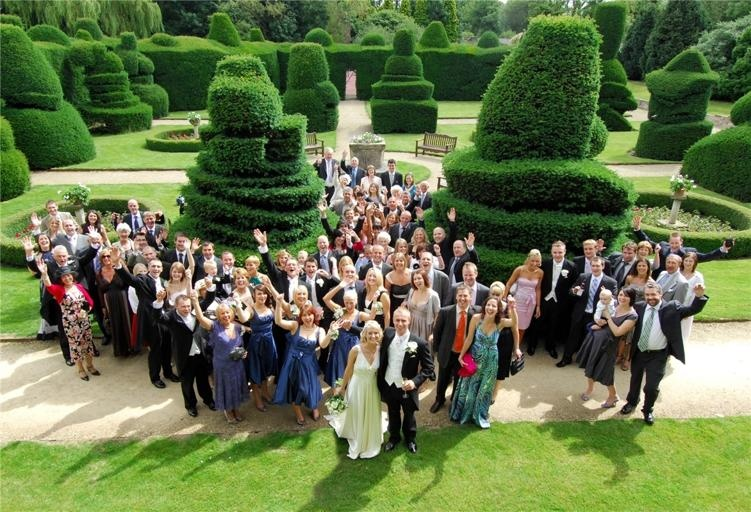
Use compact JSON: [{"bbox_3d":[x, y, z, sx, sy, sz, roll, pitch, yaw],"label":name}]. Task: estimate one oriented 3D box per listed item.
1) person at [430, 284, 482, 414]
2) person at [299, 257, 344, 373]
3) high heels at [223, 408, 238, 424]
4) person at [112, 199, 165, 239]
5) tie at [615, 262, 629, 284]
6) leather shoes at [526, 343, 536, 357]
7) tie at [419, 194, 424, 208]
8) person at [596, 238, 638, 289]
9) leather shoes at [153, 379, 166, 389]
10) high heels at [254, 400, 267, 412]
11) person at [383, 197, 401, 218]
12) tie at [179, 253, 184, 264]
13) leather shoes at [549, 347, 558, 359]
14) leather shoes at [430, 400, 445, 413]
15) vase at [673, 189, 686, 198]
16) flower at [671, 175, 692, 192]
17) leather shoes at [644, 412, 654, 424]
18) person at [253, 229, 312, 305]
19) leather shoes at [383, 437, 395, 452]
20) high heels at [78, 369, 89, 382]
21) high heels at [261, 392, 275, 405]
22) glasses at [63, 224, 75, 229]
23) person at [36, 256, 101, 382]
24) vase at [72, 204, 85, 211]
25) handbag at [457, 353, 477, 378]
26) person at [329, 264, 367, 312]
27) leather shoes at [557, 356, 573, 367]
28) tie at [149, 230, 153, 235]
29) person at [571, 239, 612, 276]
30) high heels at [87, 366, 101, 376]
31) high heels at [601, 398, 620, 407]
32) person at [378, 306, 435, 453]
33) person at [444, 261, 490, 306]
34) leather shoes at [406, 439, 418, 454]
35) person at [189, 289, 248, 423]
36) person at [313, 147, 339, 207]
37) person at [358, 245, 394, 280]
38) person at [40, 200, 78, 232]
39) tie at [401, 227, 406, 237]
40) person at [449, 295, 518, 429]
[{"bbox_3d":[1.671,1.987,13.688,1.095,2.870,0.773,9,20,8],"label":"person"},{"bbox_3d":[-1.337,1.212,14.503,0.882,2.255,0.673,2,3,6],"label":"person"},{"bbox_3d":[-2.970,3.281,13.535,0.437,0.184,0.148,26,56,29],"label":"high heels"},{"bbox_3d":[-6.325,-0.983,17.539,1.482,0.922,0.439,-4,4,-11],"label":"person"},{"bbox_3d":[5.570,0.375,14.923,0.125,0.471,0.279,18,8,-28],"label":"tie"},{"bbox_3d":[3.589,2.161,15.188,0.129,0.113,0.283,5,39,18],"label":"leather shoes"},{"bbox_3d":[1.308,-1.543,18.398,0.067,0.267,0.197,5,3,-33],"label":"tie"},{"bbox_3d":[5.433,0.204,14.846,1.032,1.083,0.343,8,8,38],"label":"person"},{"bbox_3d":[-4.680,2.761,14.294,0.316,0.133,0.124,17,30,28],"label":"leather shoes"},{"bbox_3d":[-2.400,3.138,13.830,0.153,0.082,0.272,-12,45,-41],"label":"high heels"},{"bbox_3d":[0.438,-1.285,17.589,0.720,0.541,0.406,0,12,-4],"label":"person"},{"bbox_3d":[-4.436,0.043,14.998,0.132,0.230,0.056,3,-5,-5],"label":"tie"},{"bbox_3d":[4.096,2.236,15.160,0.117,0.228,0.332,-11,55,17],"label":"leather shoes"},{"bbox_3d":[1.311,3.161,13.834,0.256,0.168,0.085,-38,50,-27],"label":"leather shoes"},{"bbox_3d":[9.899,-2.011,21.395,0.266,0.171,0.261,-14,30,-21],"label":"vase"},{"bbox_3d":[9.869,-2.297,21.266,0.642,0.460,0.470,5,19,13],"label":"flower"},{"bbox_3d":[5.646,3.344,13.589,0.135,0.165,0.235,-8,44,18],"label":"leather shoes"},{"bbox_3d":[-2.211,0.419,14.141,0.784,1.860,1.499,-17,57,1],"label":"person"},{"bbox_3d":[0.269,3.762,13.110,0.137,0.118,0.284,34,56,20],"label":"leather shoes"},{"bbox_3d":[-6.396,2.580,14.441,0.364,0.146,0.114,33,25,33],"label":"high heels"},{"bbox_3d":[-2.274,2.994,13.996,0.150,0.115,0.420,-1,45,-43],"label":"high heels"},{"bbox_3d":[-7.194,-0.695,15.508,0.119,0.099,0.153,-3,-1,1],"label":"glasses"},{"bbox_3d":[-6.588,1.443,14.400,0.728,2.370,1.089,-14,23,-34],"label":"person"},{"bbox_3d":[-8.558,-1.402,18.954,0.331,0.157,0.325,0,11,-18],"label":"vase"},{"bbox_3d":[1.814,2.214,13.261,0.167,0.410,0.414,20,9,-15],"label":"handbag"},{"bbox_3d":[-0.510,0.947,14.151,0.772,1.420,0.490,3,-16,-23],"label":"person"},{"bbox_3d":[4.264,2.392,14.939,0.443,0.195,0.149,-11,35,-5],"label":"leather shoes"},{"bbox_3d":[-5.483,-0.581,16.029,0.123,0.038,0.068,5,56,-16],"label":"tie"},{"bbox_3d":[4.904,0.091,14.903,0.906,0.895,0.514,6,2,38],"label":"person"},{"bbox_3d":[-6.217,2.515,14.566,0.392,0.157,0.133,25,28,28],"label":"high heels"},{"bbox_3d":[4.924,3.111,13.919,0.409,0.173,0.148,-11,-18,-14],"label":"high heels"},{"bbox_3d":[0.567,2.441,12.848,1.052,2.850,0.594,0,19,1],"label":"person"},{"bbox_3d":[1.961,0.599,14.249,0.906,1.206,0.385,1,11,9],"label":"person"},{"bbox_3d":[0.724,3.771,13.076,0.170,0.275,0.115,-1,-16,7],"label":"leather shoes"},{"bbox_3d":[-3.085,2.147,13.411,0.916,2.462,0.746,0,19,0],"label":"person"},{"bbox_3d":[-1.517,-2.302,20.857,0.970,2.132,0.838,-2,10,-26],"label":"person"},{"bbox_3d":[-0.005,0.165,14.725,0.711,1.009,0.491,1,9,-1],"label":"person"},{"bbox_3d":[-8.247,-1.037,17.159,0.973,0.898,0.527,-17,28,-21],"label":"person"},{"bbox_3d":[0.694,-0.591,16.511,0.157,0.218,0.094,3,20,10],"label":"tie"},{"bbox_3d":[2.198,2.153,13.307,1.251,2.670,0.547,-9,21,-25],"label":"person"}]
